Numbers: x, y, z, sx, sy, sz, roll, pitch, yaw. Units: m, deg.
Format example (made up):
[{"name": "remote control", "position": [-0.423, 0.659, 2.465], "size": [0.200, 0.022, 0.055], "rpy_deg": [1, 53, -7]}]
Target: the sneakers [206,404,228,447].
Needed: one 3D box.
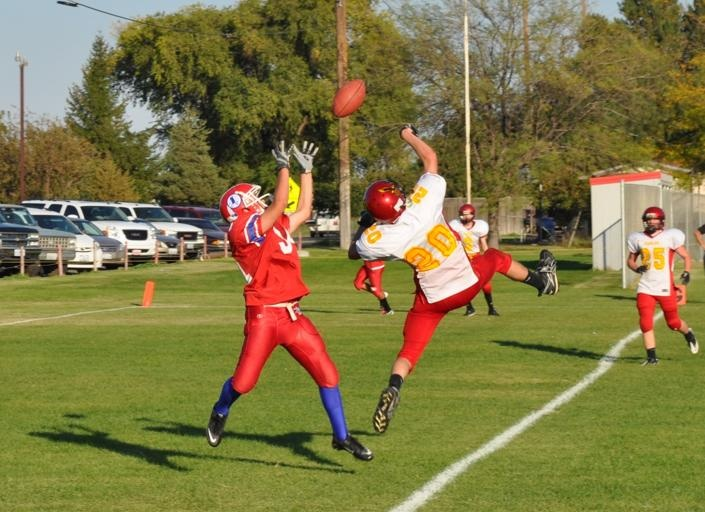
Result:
[{"name": "sneakers", "position": [-1.650, 2.004, 12.308], "size": [0.227, 0.488, 0.232], "rpy_deg": [5, -7, -16]}]

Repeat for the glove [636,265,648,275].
[{"name": "glove", "position": [4.527, 0.209, 16.370], "size": [0.138, 0.145, 0.209], "rpy_deg": [-1, 11, 1]}]

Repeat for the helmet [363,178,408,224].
[{"name": "helmet", "position": [0.366, -0.685, 12.968], "size": [0.631, 0.495, 0.468], "rpy_deg": [-10, 3, -28]}]

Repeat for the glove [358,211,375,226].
[{"name": "glove", "position": [0.182, -0.476, 13.189], "size": [0.206, 0.164, 0.217], "rpy_deg": [0, -3, -19]}]

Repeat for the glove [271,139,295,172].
[{"name": "glove", "position": [-0.868, -1.175, 12.571], "size": [0.298, 0.108, 0.409], "rpy_deg": [4, 36, -13]}]

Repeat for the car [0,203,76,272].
[{"name": "car", "position": [-9.208, -0.543, 30.973], "size": [1.565, 1.237, 2.979], "rpy_deg": [-2, 2, -43]}]

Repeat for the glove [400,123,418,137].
[{"name": "glove", "position": [0.752, -1.714, 14.151], "size": [0.211, 0.177, 0.493], "rpy_deg": [1, 4, 2]}]

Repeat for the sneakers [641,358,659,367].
[{"name": "sneakers", "position": [4.593, 1.646, 16.152], "size": [0.353, 0.117, 0.099], "rpy_deg": [-2, 17, 2]}]

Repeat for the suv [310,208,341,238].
[{"name": "suv", "position": [-1.934, -2.283, 73.220], "size": [1.982, 1.260, 2.687], "rpy_deg": [1, 7, 7]}]

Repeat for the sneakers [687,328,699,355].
[{"name": "sneakers", "position": [5.554, 1.414, 17.059], "size": [0.184, 0.431, 0.227], "rpy_deg": [-15, 4, 25]}]

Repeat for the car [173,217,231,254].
[{"name": "car", "position": [-6.043, -0.985, 43.400], "size": [2.798, 0.959, 1.350], "rpy_deg": [3, 5, 44]}]

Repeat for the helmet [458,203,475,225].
[{"name": "helmet", "position": [2.277, -0.825, 20.844], "size": [0.413, 0.375, 0.450], "rpy_deg": [-3, -3, 11]}]

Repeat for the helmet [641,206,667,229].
[{"name": "helmet", "position": [4.828, -0.609, 16.819], "size": [0.375, 0.301, 0.444], "rpy_deg": [-2, 2, 36]}]

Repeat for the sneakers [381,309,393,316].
[{"name": "sneakers", "position": [0.691, 1.210, 22.168], "size": [0.213, 0.080, 0.112], "rpy_deg": [-6, -2, 32]}]

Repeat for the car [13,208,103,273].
[{"name": "car", "position": [-9.471, -0.596, 32.856], "size": [3.309, 1.122, 1.448], "rpy_deg": [3, 4, 42]}]
